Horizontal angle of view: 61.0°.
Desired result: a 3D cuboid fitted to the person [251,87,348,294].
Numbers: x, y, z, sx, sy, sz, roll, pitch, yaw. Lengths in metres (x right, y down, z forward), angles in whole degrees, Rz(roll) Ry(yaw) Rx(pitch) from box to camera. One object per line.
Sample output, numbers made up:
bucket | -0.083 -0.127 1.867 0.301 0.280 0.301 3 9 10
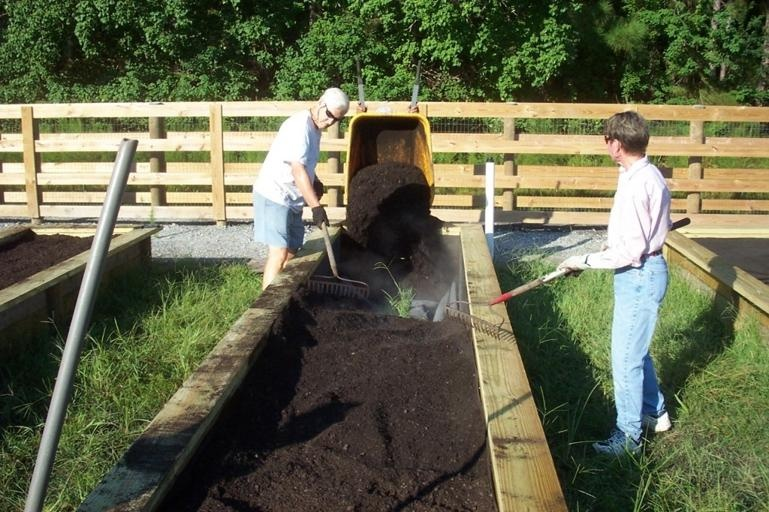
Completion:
person | -0.958 -0.718 6.969 0.997 2.064 0.604 5 12 28

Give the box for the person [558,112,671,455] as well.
person | 2.018 0.230 5.455 0.628 2.804 0.532 4 11 23

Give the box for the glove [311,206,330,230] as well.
glove | -0.687 -0.418 6.926 0.161 0.243 0.077 -4 15 19
